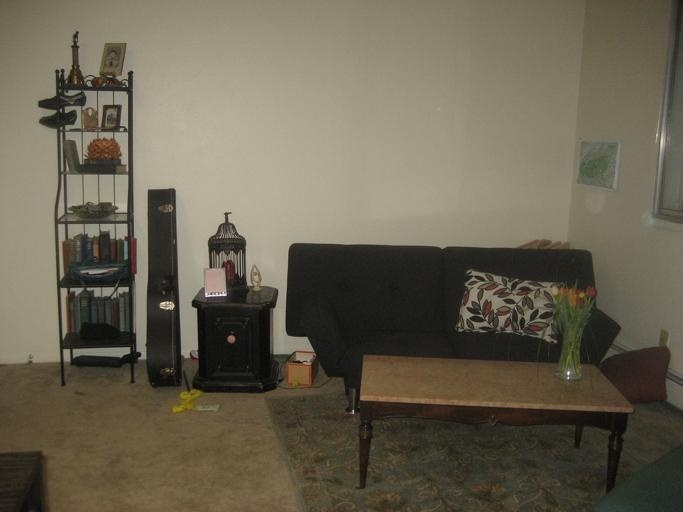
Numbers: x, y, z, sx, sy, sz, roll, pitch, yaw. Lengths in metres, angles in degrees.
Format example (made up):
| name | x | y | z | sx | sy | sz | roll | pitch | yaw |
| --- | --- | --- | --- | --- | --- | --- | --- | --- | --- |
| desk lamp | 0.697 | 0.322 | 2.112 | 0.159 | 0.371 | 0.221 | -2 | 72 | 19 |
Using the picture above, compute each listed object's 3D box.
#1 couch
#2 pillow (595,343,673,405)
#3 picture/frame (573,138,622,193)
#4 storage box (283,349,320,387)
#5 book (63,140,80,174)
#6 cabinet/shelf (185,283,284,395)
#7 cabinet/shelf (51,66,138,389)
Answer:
| name | x | y | z | sx | sy | sz | roll | pitch | yaw |
| --- | --- | --- | --- | --- | --- | --- | --- | --- | --- |
| couch | 0.751 | 0.542 | 4.648 | 2.338 | 1.189 | 0.920 | 1 | 7 | 2 |
| pillow | 1.893 | 0.770 | 4.195 | 0.435 | 0.428 | 0.526 | -4 | -31 | 20 |
| picture/frame | 2.036 | -0.719 | 5.063 | 0.049 | 0.385 | 0.420 | -3 | 8 | -20 |
| storage box | -0.314 | 0.820 | 4.831 | 0.211 | 0.147 | 0.293 | 2 | 9 | 5 |
| book | -2.035 | -0.744 | 4.810 | 0.110 | 0.244 | 0.254 | -4 | 8 | -24 |
| cabinet/shelf | -0.723 | 0.610 | 4.814 | 0.645 | 0.763 | 0.656 | 0 | 6 | 1 |
| cabinet/shelf | -1.903 | -0.223 | 4.972 | 0.557 | 2.295 | 0.422 | -1 | -1 | -24 |
